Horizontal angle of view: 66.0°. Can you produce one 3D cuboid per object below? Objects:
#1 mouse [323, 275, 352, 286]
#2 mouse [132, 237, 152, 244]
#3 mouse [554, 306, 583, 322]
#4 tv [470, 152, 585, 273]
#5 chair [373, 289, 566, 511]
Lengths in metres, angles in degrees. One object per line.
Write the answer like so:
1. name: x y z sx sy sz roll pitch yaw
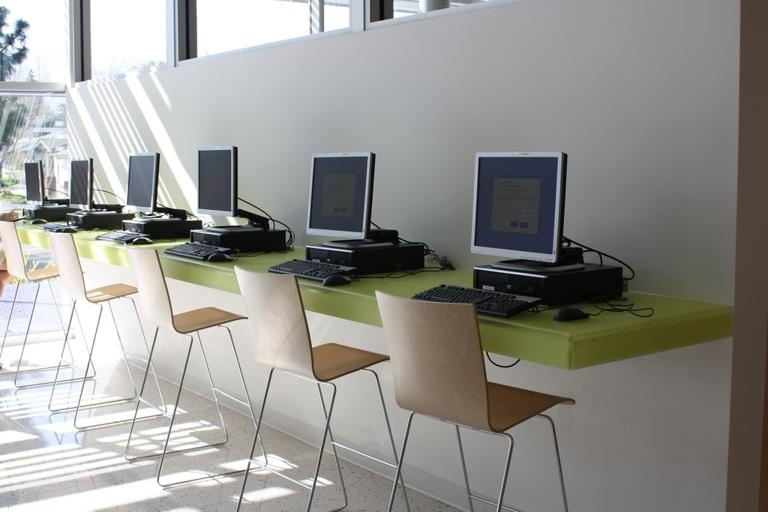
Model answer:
1. mouse: -0.228 0.119 2.792 0.097 0.028 0.056 -1 3 -24
2. mouse: -1.730 -0.111 4.148 0.093 0.027 0.054 -5 13 -32
3. mouse: 0.690 0.211 2.180 0.096 0.032 0.051 -3 9 -32
4. tv: 0.623 -0.191 2.539 0.059 0.511 0.568 1 3 -44
5. chair: 0.344 0.487 2.377 0.579 0.739 0.479 10 17 38
